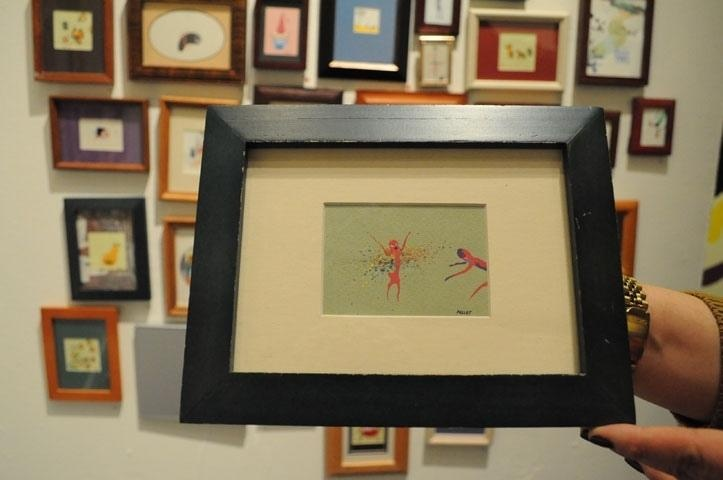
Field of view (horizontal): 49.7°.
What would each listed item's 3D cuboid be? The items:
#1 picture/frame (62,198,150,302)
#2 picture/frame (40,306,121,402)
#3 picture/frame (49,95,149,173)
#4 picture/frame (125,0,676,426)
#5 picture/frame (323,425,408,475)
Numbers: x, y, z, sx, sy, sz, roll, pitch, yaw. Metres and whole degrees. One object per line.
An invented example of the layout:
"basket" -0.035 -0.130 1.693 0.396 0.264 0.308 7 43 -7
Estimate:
"picture/frame" -0.851 0.020 2.613 0.314 0.420 0.042 -1 7 0
"picture/frame" -0.944 0.370 2.628 0.298 0.389 0.037 0 4 2
"picture/frame" -0.874 -0.364 2.588 0.239 0.193 0.026 0 4 -1
"picture/frame" 0.117 -0.126 2.246 1.349 1.062 0.059 0 -13 -2
"picture/frame" 0.005 0.707 2.630 0.297 0.240 0.032 0 3 -4
